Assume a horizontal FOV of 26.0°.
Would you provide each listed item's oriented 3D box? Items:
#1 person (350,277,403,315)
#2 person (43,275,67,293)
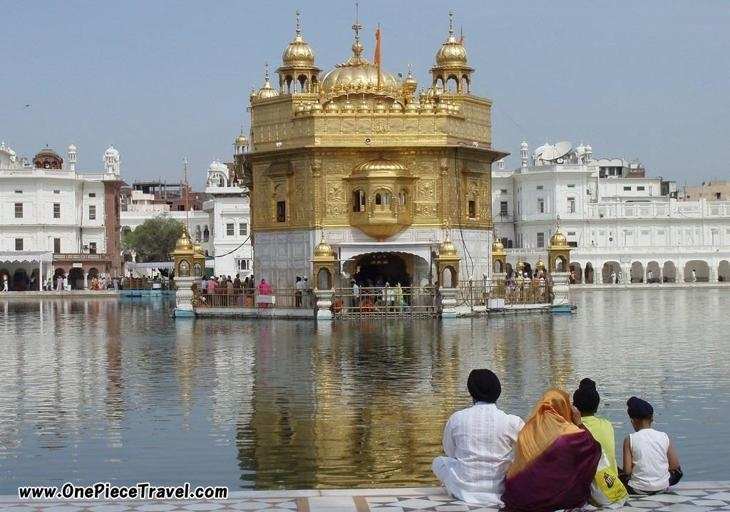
[{"bbox_3d":[0.306,1.263,49.601,1.251,0.774,1.249,0,0,38],"label":"person"},{"bbox_3d":[-17.024,1.601,87.616,1.362,0.742,1.274,0,1,1],"label":"person"}]
